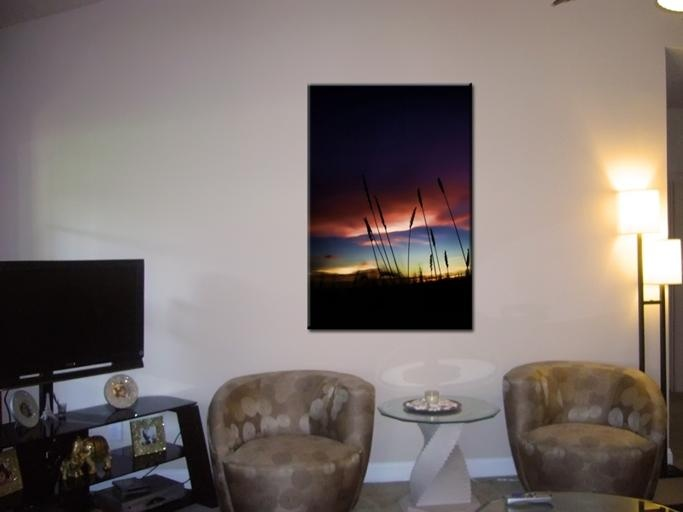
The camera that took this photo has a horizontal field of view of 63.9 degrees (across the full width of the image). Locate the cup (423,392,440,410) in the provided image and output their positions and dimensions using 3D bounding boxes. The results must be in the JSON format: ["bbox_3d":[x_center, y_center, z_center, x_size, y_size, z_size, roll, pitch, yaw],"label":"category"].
[{"bbox_3d":[0.607,0.965,3.671,0.088,0.103,0.095,1,4,0],"label":"cup"}]

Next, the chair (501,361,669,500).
[{"bbox_3d":[1.647,1.173,3.915,0.920,0.867,0.894,0,-12,4],"label":"chair"}]

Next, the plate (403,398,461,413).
[{"bbox_3d":[0.610,0.998,3.694,0.387,0.064,0.333,-3,-3,6],"label":"plate"}]

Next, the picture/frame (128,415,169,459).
[{"bbox_3d":[-1.349,1.261,3.813,0.287,0.307,0.030,-10,-4,-41],"label":"picture/frame"}]
